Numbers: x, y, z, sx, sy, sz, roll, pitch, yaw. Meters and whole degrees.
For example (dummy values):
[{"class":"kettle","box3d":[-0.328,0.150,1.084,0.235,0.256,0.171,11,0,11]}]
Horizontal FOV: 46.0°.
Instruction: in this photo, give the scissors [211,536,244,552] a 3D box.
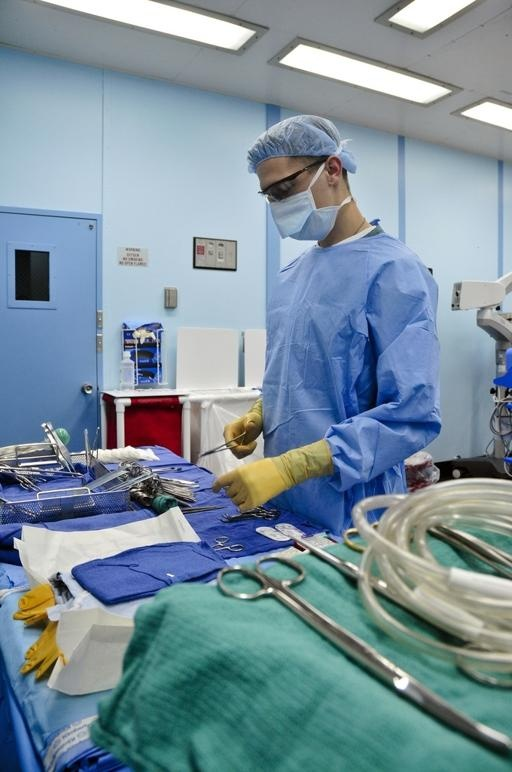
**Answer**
[{"class":"scissors","box3d":[-0.054,0.281,1.076,0.052,0.003,0.087,-4,4,-21]}]

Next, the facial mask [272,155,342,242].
[{"class":"facial mask","box3d":[0.128,-0.437,1.425,0.156,0.113,0.135,-35,23,6]}]

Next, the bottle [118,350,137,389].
[{"class":"bottle","box3d":[-0.752,-0.099,3.503,0.100,0.213,0.130,-3,3,-13]}]

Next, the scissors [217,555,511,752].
[{"class":"scissors","box3d":[0.069,0.165,0.459,0.066,0.011,0.244,-1,6,-24]}]
